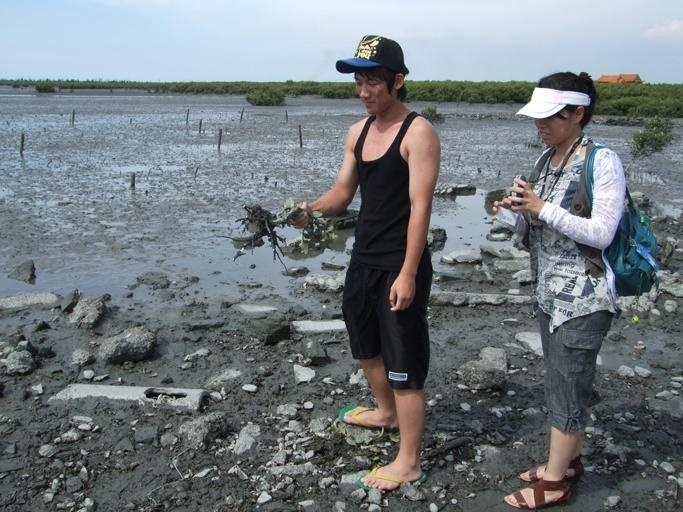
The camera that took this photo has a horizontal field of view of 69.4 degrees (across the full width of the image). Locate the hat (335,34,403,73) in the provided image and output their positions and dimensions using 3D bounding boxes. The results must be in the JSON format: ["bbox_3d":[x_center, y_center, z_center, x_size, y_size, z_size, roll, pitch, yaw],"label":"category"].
[{"bbox_3d":[0.227,-1.308,3.219,0.502,0.214,0.316,-10,27,-36],"label":"hat"}]

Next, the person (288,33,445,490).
[{"bbox_3d":[0.306,0.065,3.458,0.710,2.998,1.091,-5,19,-6],"label":"person"}]

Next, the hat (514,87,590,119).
[{"bbox_3d":[1.301,-0.930,3.017,0.463,0.125,0.271,-13,15,-19],"label":"hat"}]

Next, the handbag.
[{"bbox_3d":[1.706,-0.165,2.994,0.515,0.990,0.389,3,20,16],"label":"handbag"}]

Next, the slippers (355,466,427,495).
[{"bbox_3d":[0.357,1.573,3.485,0.423,0.088,0.183,3,-1,0],"label":"slippers"}]

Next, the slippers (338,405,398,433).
[{"bbox_3d":[0.178,1.341,4.020,0.424,0.068,0.195,10,21,35],"label":"slippers"}]

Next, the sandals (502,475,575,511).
[{"bbox_3d":[1.305,1.580,3.275,0.420,0.156,0.199,-8,31,14],"label":"sandals"}]
